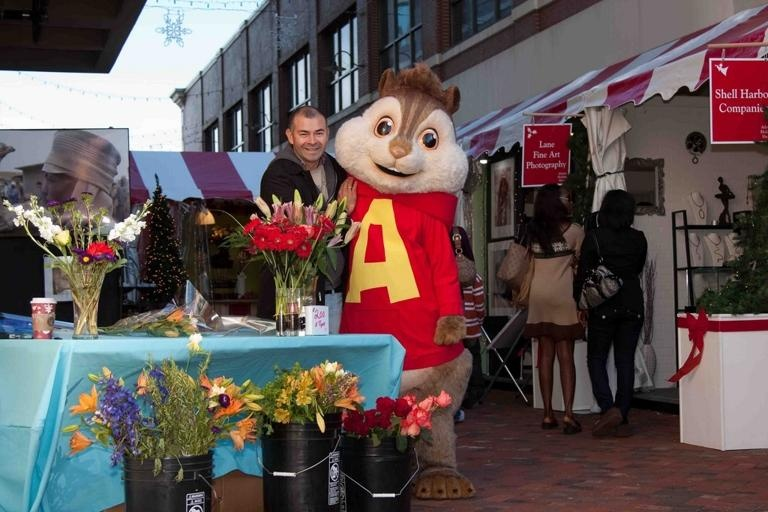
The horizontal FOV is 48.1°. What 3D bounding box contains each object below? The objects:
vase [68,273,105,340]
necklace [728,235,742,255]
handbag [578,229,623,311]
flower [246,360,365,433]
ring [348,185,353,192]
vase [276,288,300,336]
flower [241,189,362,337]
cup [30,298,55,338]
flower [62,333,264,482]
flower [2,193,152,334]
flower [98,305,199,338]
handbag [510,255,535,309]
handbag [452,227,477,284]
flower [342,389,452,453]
[{"bbox_3d":[-1.866,0.299,5.366,0.182,0.403,0.333,4,-1,-21],"label":"vase"},{"bbox_3d":[3.891,-0.117,9.523,0.137,0.227,0.048,-6,7,-38],"label":"necklace"},{"bbox_3d":[2.107,0.145,8.501,0.225,0.697,0.567,-8,-11,-21],"label":"handbag"},{"bbox_3d":[-0.466,0.858,5.327,0.442,0.365,0.482,-1,-7,-12],"label":"flower"},{"bbox_3d":[-0.241,-0.502,6.402,0.028,0.045,0.015,-4,-34,3],"label":"ring"},{"bbox_3d":[-0.635,0.355,5.671,0.172,0.270,0.154,4,-1,-3],"label":"vase"},{"bbox_3d":[-0.589,0.075,6.097,0.763,1.035,0.878,0,-3,2],"label":"flower"},{"bbox_3d":[-2.102,0.380,5.287,0.133,0.251,0.271,4,-1,-23],"label":"cup"},{"bbox_3d":[-1.276,0.907,5.100,0.744,0.651,0.984,-3,-11,41],"label":"flower"},{"bbox_3d":[-2.975,0.039,8.090,1.610,1.848,0.824,2,-6,-30],"label":"flower"},{"bbox_3d":[-1.475,0.431,5.512,0.400,0.140,0.300,12,15,-26],"label":"flower"},{"bbox_3d":[1.472,0.289,8.975,0.317,0.449,0.163,13,-3,-18],"label":"handbag"},{"bbox_3d":[0.657,-0.007,7.009,0.140,0.419,0.270,-8,-2,32],"label":"handbag"},{"bbox_3d":[0.050,1.021,5.507,0.483,0.243,0.362,-6,31,-14],"label":"flower"}]
